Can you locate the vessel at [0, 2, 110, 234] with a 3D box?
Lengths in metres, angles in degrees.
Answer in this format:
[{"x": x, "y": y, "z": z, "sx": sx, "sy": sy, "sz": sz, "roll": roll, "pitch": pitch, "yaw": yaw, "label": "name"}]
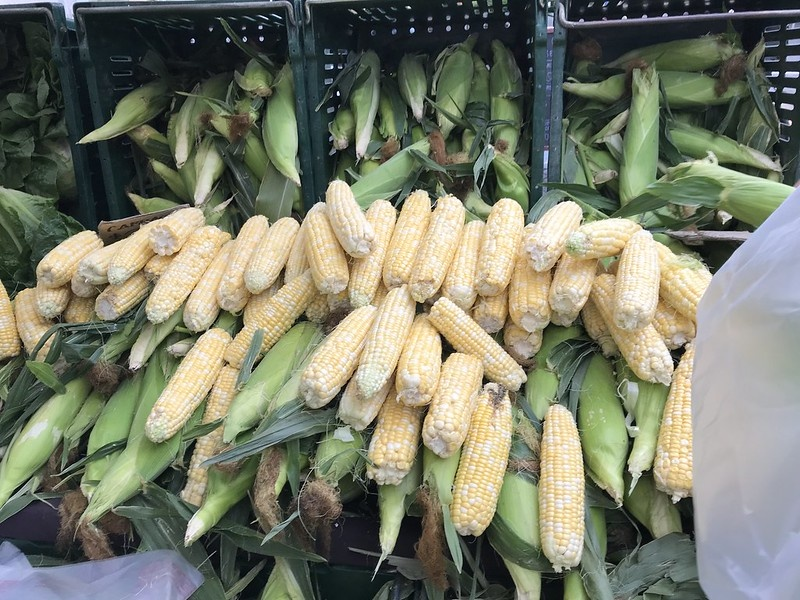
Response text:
[{"x": -2.010, "y": -1.077, "z": 4.213, "sx": 0.678, "sy": 1.301, "sz": 0.400, "roll": -6, "pitch": 14, "yaw": -17, "label": "vessel"}]
